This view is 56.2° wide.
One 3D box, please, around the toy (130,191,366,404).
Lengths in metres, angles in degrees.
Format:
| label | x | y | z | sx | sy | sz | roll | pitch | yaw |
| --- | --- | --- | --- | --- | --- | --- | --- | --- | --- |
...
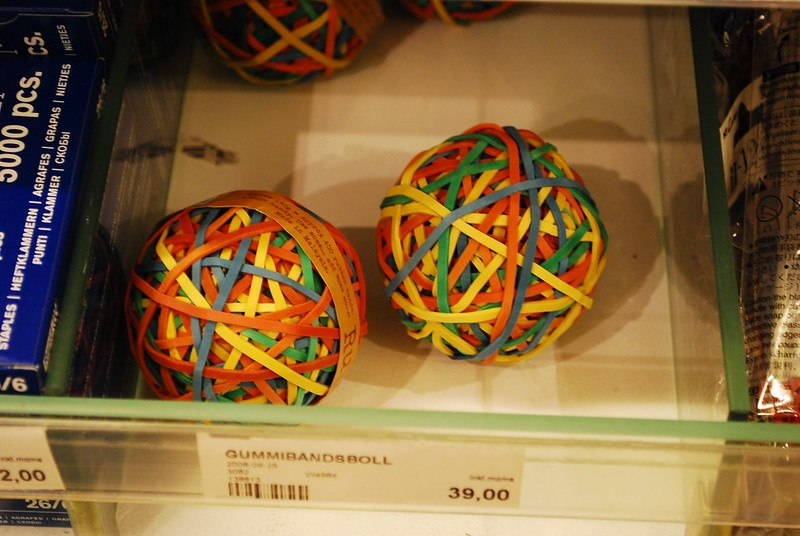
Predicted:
| label | x | y | z | sx | sy | sz | roll | pitch | yaw |
| --- | --- | --- | --- | --- | --- | --- | --- | --- | --- |
| toy | -0.157 | 0.024 | 0.897 | 0.254 | 0.224 | 0.201 | 16 | 29 | -7 |

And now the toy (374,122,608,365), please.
| label | x | y | z | sx | sy | sz | roll | pitch | yaw |
| --- | --- | --- | --- | --- | --- | --- | --- | --- | --- |
| toy | 0.115 | -0.050 | 0.945 | 0.268 | 0.259 | 0.268 | -9 | 15 | 7 |
